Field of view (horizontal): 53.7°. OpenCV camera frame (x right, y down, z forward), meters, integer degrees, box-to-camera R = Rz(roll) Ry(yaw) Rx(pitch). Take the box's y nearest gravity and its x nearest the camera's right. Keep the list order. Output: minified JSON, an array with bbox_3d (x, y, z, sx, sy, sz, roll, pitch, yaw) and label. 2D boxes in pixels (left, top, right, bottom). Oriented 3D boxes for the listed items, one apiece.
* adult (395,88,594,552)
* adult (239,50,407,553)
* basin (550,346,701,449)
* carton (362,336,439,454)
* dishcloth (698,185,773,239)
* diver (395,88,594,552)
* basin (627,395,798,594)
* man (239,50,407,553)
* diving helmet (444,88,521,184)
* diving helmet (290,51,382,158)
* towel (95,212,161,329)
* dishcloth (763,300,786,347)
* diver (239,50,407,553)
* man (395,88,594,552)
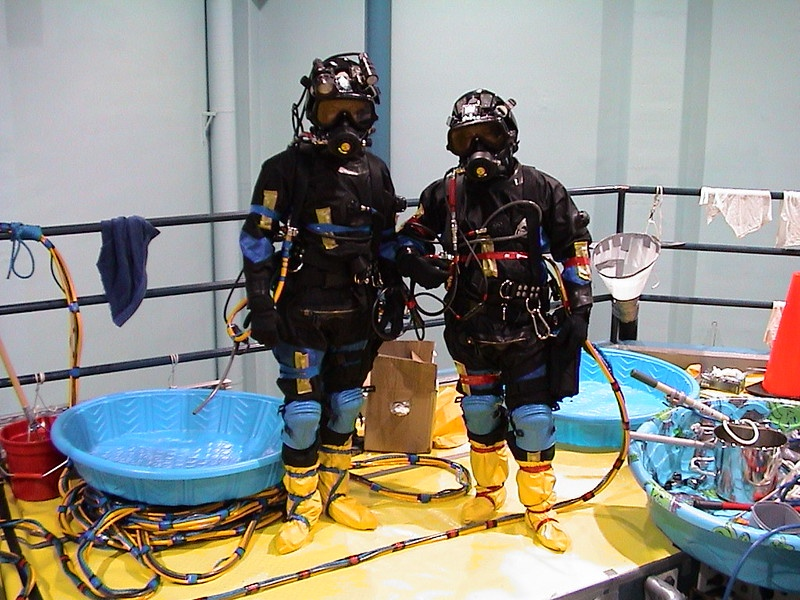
[{"bbox_3d":[0.443,0.091,3.684,0.857,2.070,0.434,2,13,13],"label":"adult"},{"bbox_3d":[-0.336,0.014,3.644,0.762,2.230,0.440,-4,13,-12],"label":"adult"},{"bbox_3d":[1.131,0.685,4.312,0.637,0.638,0.160,-20,39,23],"label":"basin"},{"bbox_3d":[-0.012,0.721,4.489,0.397,0.506,0.671,9,50,1],"label":"carton"},{"bbox_3d":[2.101,-0.533,4.951,0.423,0.335,0.126,4,-15,14],"label":"dishcloth"},{"bbox_3d":[0.444,0.091,3.687,0.856,2.070,0.434,2,13,13],"label":"diver"},{"bbox_3d":[1.566,0.879,3.653,0.802,0.299,0.766,-9,25,5],"label":"basin"},{"bbox_3d":[-0.336,0.014,3.644,0.762,2.230,0.440,-4,13,-12],"label":"man"},{"bbox_3d":[0.389,-0.769,3.689,0.322,0.424,0.429,-7,7,21],"label":"diving helmet"},{"bbox_3d":[-0.297,-0.938,3.726,0.388,0.465,0.502,-3,20,-23],"label":"diving helmet"},{"bbox_3d":[-1.474,-0.145,4.308,0.330,0.621,0.204,-4,13,-13],"label":"towel"},{"bbox_3d":[2.452,0.152,5.184,0.065,0.286,0.274,13,-7,8],"label":"dishcloth"},{"bbox_3d":[-0.336,0.014,3.644,0.762,2.230,0.440,-4,13,-12],"label":"diver"},{"bbox_3d":[0.446,0.089,3.692,0.854,2.070,0.435,2,13,14],"label":"man"}]
